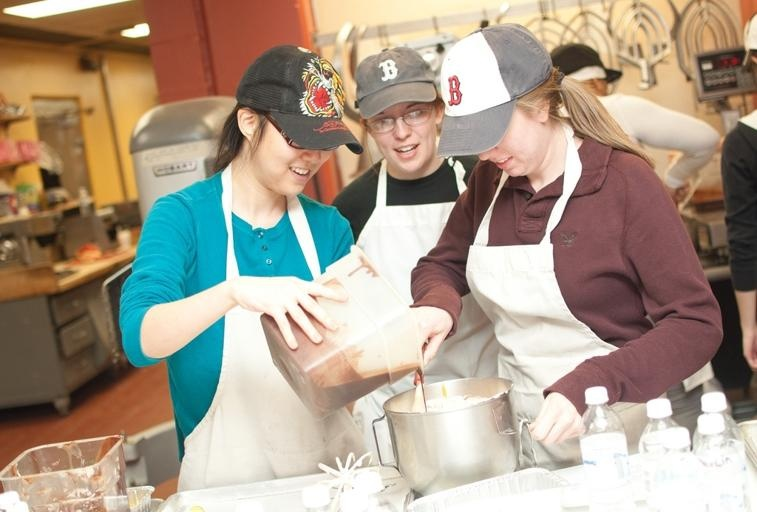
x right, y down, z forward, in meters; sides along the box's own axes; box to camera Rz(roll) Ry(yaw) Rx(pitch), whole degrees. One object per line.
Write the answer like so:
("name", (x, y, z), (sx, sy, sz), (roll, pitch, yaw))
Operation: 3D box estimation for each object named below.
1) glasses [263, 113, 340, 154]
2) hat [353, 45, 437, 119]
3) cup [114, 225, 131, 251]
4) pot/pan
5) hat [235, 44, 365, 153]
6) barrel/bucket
("glasses", (-0.283, -0.376, 1.901), (0.153, 0.158, 0.042), (-9, -25, -42))
("hat", (0.052, -0.707, 2.409), (0.239, 0.144, 0.343), (-13, 23, 6))
("cup", (-2.393, -0.159, 5.592), (0.158, 0.256, 0.160), (5, 16, -1))
("pot/pan", (0.199, 0.495, 1.637), (0.349, 0.286, 0.289), (-7, 6, -1))
("hat", (-0.259, -0.497, 1.963), (0.431, 0.224, 0.276), (33, 27, 17))
("barrel/bucket", (-0.071, 0.176, 1.647), (0.357, 0.382, 0.454), (-30, 19, -25))
